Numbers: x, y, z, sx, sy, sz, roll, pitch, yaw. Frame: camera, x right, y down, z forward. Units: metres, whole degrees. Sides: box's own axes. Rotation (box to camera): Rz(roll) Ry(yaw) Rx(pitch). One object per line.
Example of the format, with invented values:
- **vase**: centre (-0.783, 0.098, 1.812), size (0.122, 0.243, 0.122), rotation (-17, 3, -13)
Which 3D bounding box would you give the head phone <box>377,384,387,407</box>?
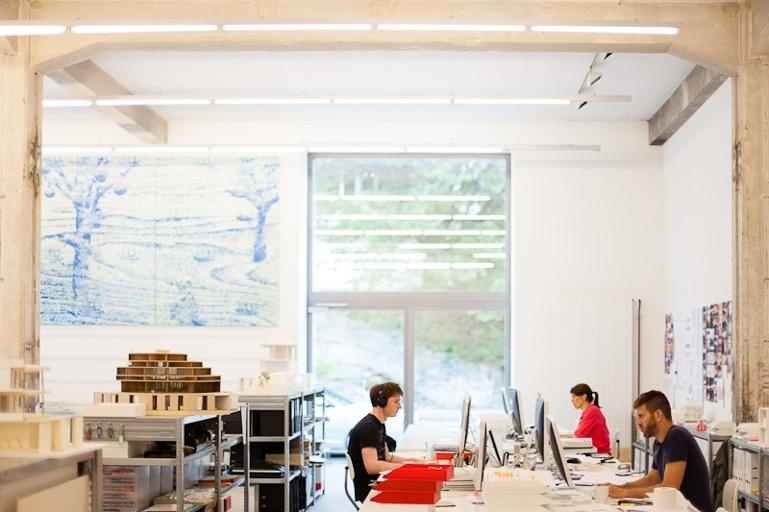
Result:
- **head phone**: centre (-0.034, 1.487, 9.754), size (0.081, 0.188, 0.207), rotation (0, -13, 1)
